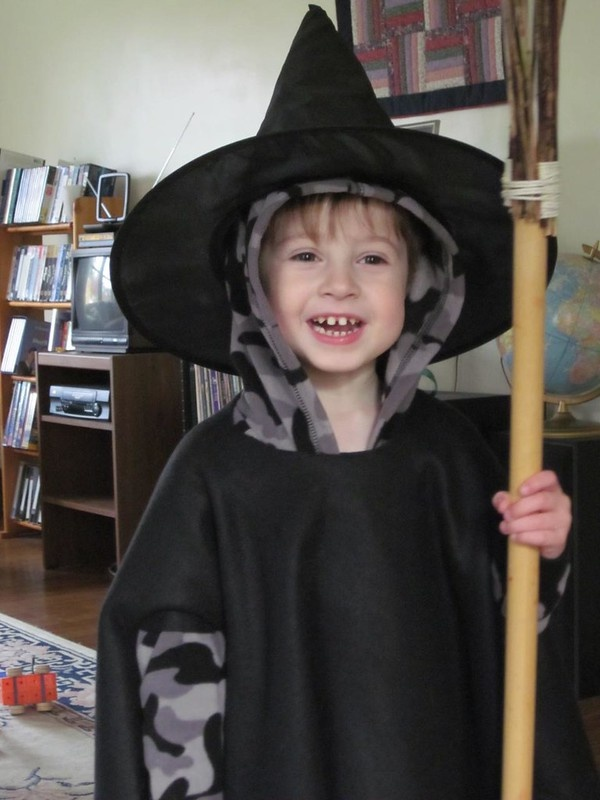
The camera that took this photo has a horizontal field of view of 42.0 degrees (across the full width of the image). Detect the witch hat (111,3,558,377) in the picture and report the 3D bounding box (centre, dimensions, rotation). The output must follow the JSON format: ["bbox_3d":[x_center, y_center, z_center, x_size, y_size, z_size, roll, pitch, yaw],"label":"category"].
[{"bbox_3d":[-0.004,-0.210,1.000,0.500,0.304,0.479,4,-31,-10],"label":"witch hat"}]
